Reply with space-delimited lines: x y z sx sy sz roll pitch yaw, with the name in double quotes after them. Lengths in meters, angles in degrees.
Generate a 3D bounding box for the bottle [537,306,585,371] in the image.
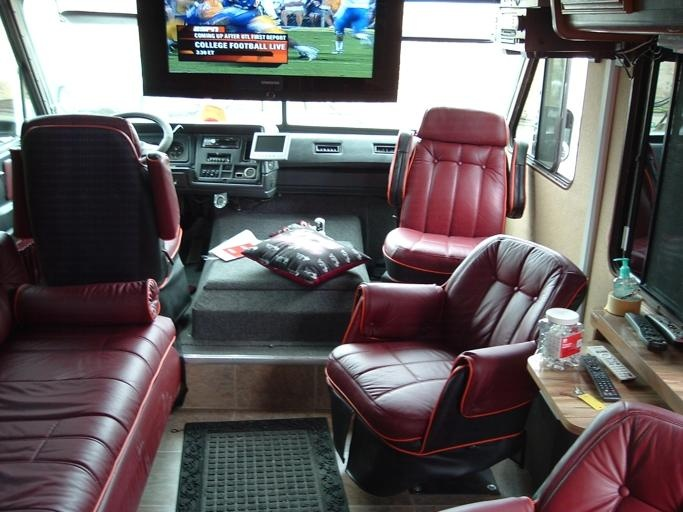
0.759 0.288 1.809 0.157 0.174 0.155 -12 20 -36 "bottle"

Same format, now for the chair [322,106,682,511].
0.440 0.177 2.726 1.283 1.580 1.216 -4 22 -22 "chair"
